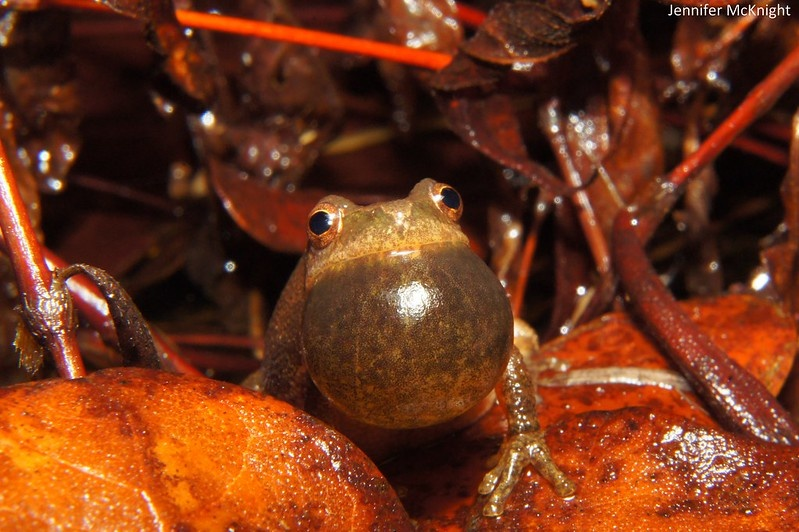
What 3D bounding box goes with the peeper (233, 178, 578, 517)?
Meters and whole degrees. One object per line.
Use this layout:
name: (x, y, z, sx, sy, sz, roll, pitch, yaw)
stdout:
peeper: (0.012, 0.063, 0.908, 0.362, 0.372, 0.296, 0, 74, -4)
